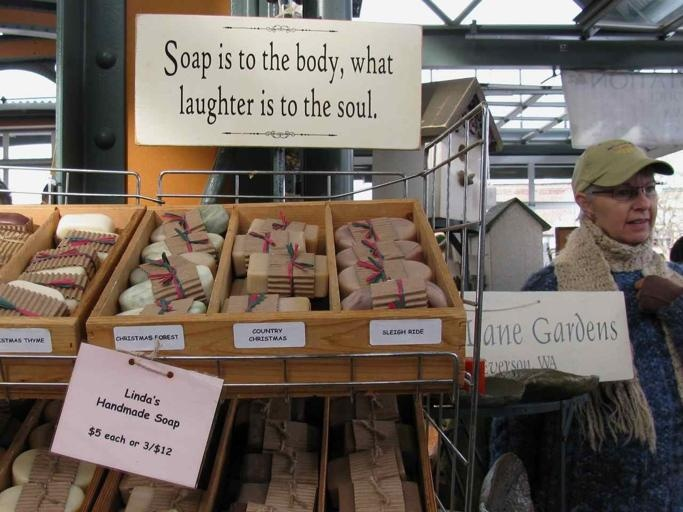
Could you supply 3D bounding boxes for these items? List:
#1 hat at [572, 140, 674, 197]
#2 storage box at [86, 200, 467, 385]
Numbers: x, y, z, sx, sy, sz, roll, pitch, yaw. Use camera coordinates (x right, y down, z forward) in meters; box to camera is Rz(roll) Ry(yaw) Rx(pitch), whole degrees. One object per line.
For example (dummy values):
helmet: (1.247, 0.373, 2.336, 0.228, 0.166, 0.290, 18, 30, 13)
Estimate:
hat: (1.093, -0.319, 2.188, 0.221, 0.166, 0.317, -16, -4, -29)
storage box: (-0.140, 0.067, 1.477, 0.886, 0.465, 0.376, 1, 3, 1)
